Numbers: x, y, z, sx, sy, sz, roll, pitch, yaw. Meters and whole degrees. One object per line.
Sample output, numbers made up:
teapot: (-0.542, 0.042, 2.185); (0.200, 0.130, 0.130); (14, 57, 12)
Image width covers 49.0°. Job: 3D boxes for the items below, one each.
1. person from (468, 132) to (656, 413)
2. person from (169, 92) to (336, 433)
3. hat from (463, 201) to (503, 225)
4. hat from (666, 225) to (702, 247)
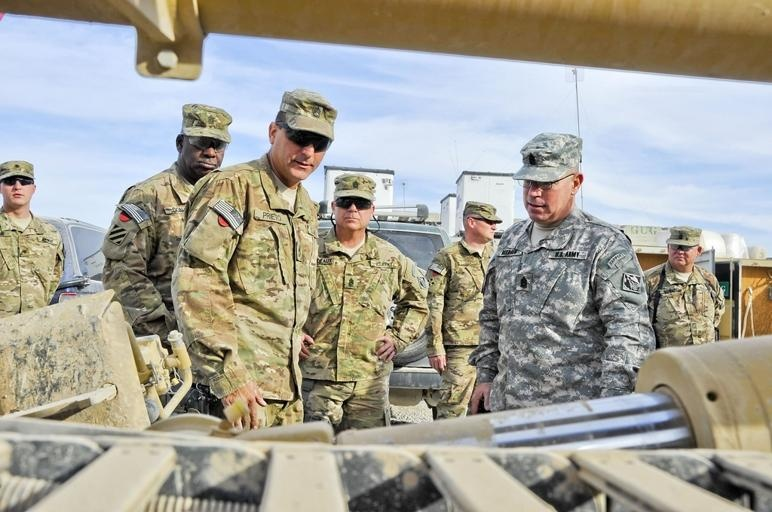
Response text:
person: (0.843, 0.138, 4.110); (0.605, 1.418, 1.108); (-3, 12, -25)
person: (-0.631, 0.011, 3.959); (0.528, 1.564, 0.865); (6, 11, 18)
hat: (0.796, -0.369, 7.079); (0.251, 0.106, 0.181); (5, 2, 2)
hat: (2.847, -0.190, 8.077); (0.281, 0.211, 0.285); (5, 11, 15)
